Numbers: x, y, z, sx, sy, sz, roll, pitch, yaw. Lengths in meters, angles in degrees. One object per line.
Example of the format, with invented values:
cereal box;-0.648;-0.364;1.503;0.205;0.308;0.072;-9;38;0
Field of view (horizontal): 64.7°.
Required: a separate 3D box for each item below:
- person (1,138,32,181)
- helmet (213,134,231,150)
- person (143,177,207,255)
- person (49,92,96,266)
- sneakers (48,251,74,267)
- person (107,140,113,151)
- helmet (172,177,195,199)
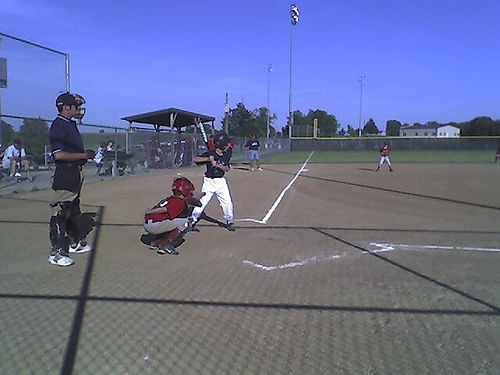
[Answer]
person;-8.397;-1.023;14.156;0.867;1.437;1.045;-7;13;-32
helmet;-0.537;-0.877;7.409;0.296;0.291;0.237;-13;20;-15
person;-1.279;0.451;6.218;0.565;1.119;0.850;4;11;18
person;-2.633;-0.112;5.692;0.657;2.455;1.495;-5;12;-28
sneakers;-2.686;1.002;5.612;0.324;0.159;0.172;4;6;15
person;-6.461;-1.887;18.179;0.205;0.297;0.725;5;35;-8
helmet;-1.096;-0.018;6.409;0.315;0.347;0.285;-13;16;-43
